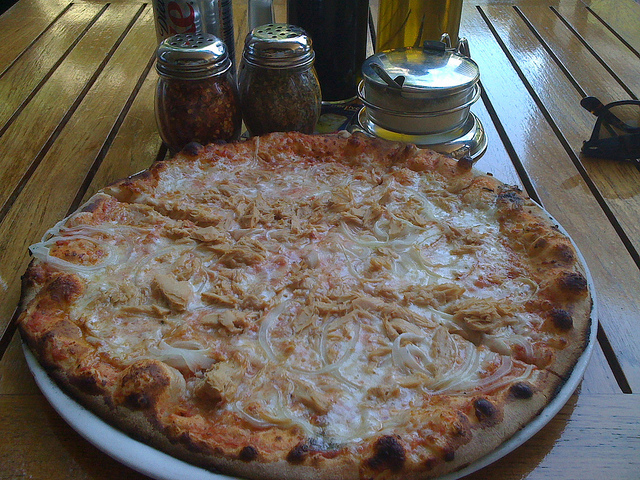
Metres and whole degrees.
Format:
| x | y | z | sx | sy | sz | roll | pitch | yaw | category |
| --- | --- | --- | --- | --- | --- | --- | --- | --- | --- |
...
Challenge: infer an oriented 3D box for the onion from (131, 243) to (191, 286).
| x | y | z | sx | sy | sz | roll | pitch | yaw | category |
| --- | --- | --- | --- | --- | --- | --- | --- | --- | --- |
| -0.443 | 0.076 | 1.613 | 0.034 | 0.199 | 0.127 | 1 | 89 | -48 | onion |

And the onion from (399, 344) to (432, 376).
| x | y | z | sx | sy | sz | roll | pitch | yaw | category |
| --- | --- | --- | --- | --- | --- | --- | --- | --- | --- |
| 0.243 | 0.303 | 1.400 | 0.071 | 0.018 | 0.056 | 41 | 42 | 17 | onion |

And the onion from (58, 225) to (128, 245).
| x | y | z | sx | sy | sz | roll | pitch | yaw | category |
| --- | --- | --- | --- | --- | --- | --- | --- | --- | --- |
| -0.672 | -0.019 | 1.628 | 0.153 | 0.018 | 0.061 | 9 | 47 | -21 | onion |

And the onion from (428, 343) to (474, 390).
| x | y | z | sx | sy | sz | roll | pitch | yaw | category |
| --- | --- | --- | --- | --- | --- | --- | --- | --- | --- |
| 0.341 | 0.325 | 1.437 | 0.048 | 0.058 | 0.186 | 23 | 42 | 14 | onion |

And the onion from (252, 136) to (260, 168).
| x | y | z | sx | sy | sz | roll | pitch | yaw | category |
| --- | --- | --- | --- | --- | --- | --- | --- | --- | --- |
| -0.231 | -0.311 | 1.946 | 0.018 | 0.010 | 0.092 | 7 | 79 | 0 | onion |

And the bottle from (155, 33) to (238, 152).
| x | y | z | sx | sy | sz | roll | pitch | yaw | category |
| --- | --- | --- | --- | --- | --- | --- | --- | --- | --- |
| -0.439 | -0.582 | 2.038 | 0.332 | 0.493 | 0.344 | 8 | 40 | -6 | bottle |

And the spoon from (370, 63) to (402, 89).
| x | y | z | sx | sy | sz | roll | pitch | yaw | category |
| --- | --- | --- | --- | --- | --- | --- | --- | --- | --- |
| 0.233 | -0.598 | 1.983 | 0.028 | 0.032 | 0.166 | -31 | 62 | -20 | spoon |
